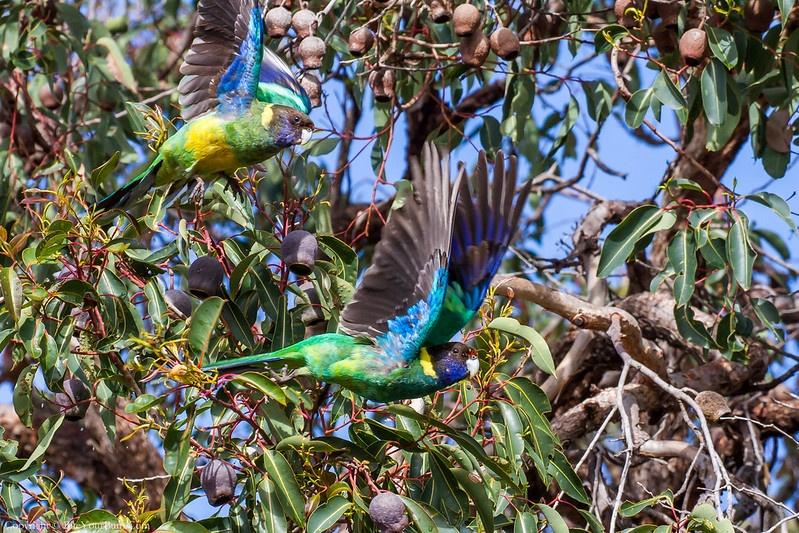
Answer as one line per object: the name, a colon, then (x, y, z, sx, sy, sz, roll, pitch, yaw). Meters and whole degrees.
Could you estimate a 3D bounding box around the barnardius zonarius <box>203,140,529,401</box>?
barnardius zonarius: (-0.044, 0.053, 4.883, 0.953, 0.879, 1.330, 36, 16, 12)
